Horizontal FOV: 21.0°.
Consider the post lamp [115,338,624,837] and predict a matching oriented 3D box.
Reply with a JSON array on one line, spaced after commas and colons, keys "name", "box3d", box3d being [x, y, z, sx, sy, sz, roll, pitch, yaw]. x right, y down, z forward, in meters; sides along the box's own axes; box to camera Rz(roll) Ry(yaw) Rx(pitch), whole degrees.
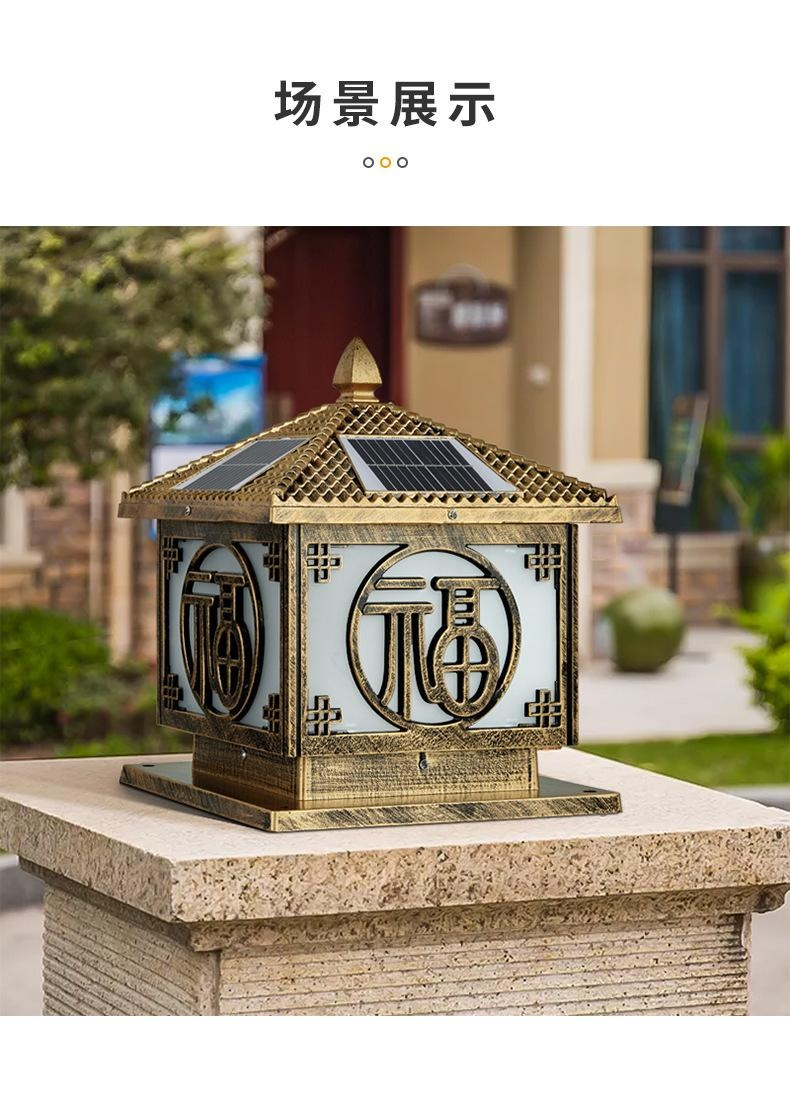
[{"name": "post lamp", "box3d": [-0.050, 0.043, 3.044, 0.600, 0.590, 0.613, 0, 2, -23]}]
